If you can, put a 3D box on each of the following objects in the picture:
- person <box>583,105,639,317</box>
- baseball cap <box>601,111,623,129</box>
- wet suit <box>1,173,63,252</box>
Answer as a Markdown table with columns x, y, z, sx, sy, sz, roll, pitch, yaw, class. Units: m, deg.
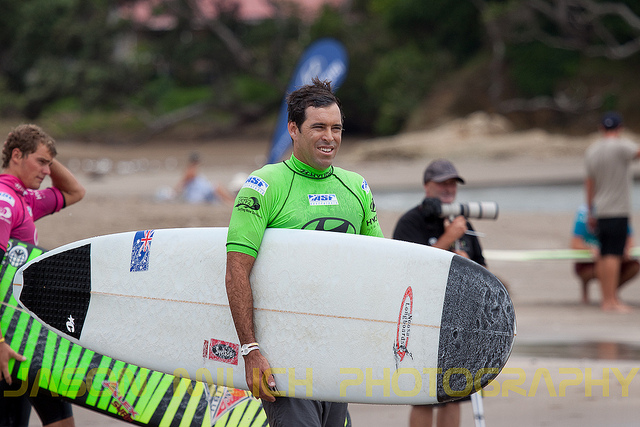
| x | y | z | sx | sy | sz | roll | pitch | yaw | class |
| --- | --- | --- | --- | --- | --- | --- | --- | --- | --- |
| 5.114 | 0.001 | 20.079 | 0.892 | 3.561 | 0.383 | 2 | 7 | 13 | person |
| 5.159 | -1.654 | 20.108 | 0.269 | 0.306 | 0.331 | 2 | 9 | 10 | baseball cap |
| -4.577 | -0.078 | 18.133 | 1.017 | 1.235 | 1.389 | 1 | 15 | -12 | wet suit |
